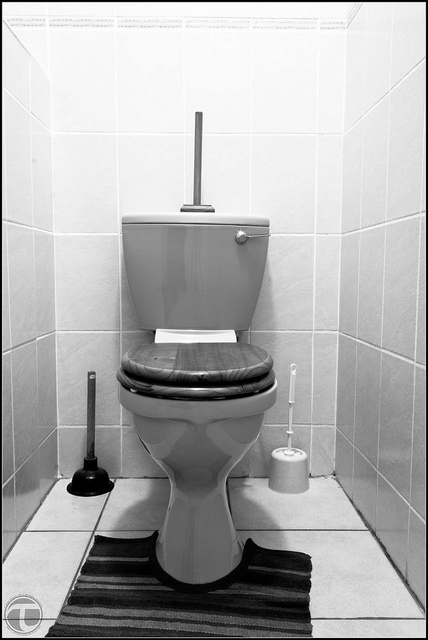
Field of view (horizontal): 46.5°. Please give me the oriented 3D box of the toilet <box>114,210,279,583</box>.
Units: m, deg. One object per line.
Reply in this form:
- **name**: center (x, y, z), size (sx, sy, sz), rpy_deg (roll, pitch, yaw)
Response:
- **toilet**: center (-0.031, 0.147, 1.073), size (0.246, 0.744, 0.474), rpy_deg (1, 10, -1)
